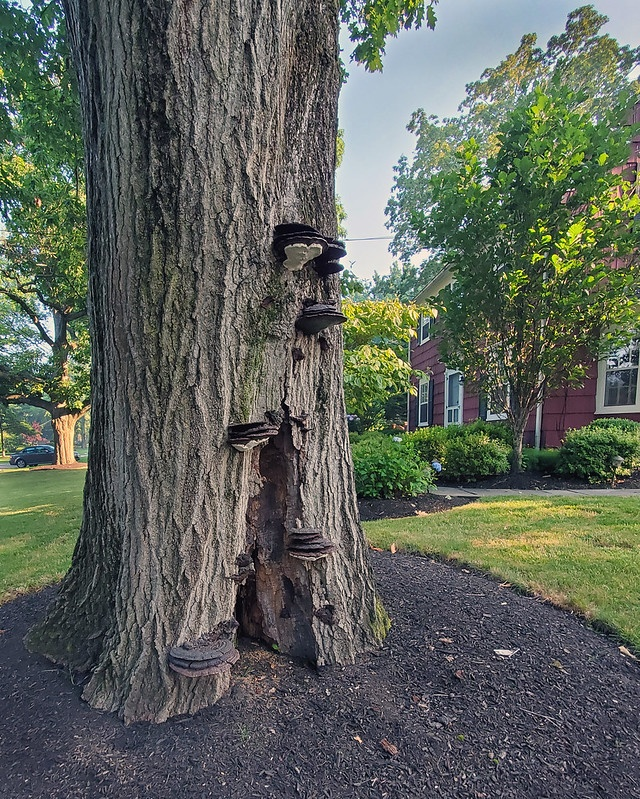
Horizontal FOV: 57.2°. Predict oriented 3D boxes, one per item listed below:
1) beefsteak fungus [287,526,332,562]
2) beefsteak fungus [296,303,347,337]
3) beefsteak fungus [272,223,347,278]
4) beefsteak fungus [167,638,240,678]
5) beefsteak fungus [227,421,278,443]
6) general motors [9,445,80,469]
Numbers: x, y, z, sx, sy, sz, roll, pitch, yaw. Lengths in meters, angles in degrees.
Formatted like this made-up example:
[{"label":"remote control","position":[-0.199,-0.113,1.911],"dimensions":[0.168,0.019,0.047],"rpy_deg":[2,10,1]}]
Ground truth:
[{"label":"beefsteak fungus","position":[-0.070,0.670,2.860],"dimensions":[0.148,0.107,0.162],"rpy_deg":[-2,3,-26]},{"label":"beefsteak fungus","position":[0.011,-0.404,2.893],"dimensions":[0.246,0.160,0.271],"rpy_deg":[-3,7,-27]},{"label":"beefsteak fungus","position":[-0.023,-0.734,2.842],"dimensions":[0.238,0.234,0.451],"rpy_deg":[5,8,39]},{"label":"beefsteak fungus","position":[-0.504,1.089,2.474],"dimensions":[0.182,0.063,0.194],"rpy_deg":[0,-4,18]},{"label":"beefsteak fungus","position":[-0.313,0.146,2.674],"dimensions":[0.226,0.097,0.113],"rpy_deg":[-1,6,-10]},{"label":"general motors","position":[-12.449,2.503,25.285],"dimensions":[1.270,0.655,2.358],"rpy_deg":[0,7,3]}]
